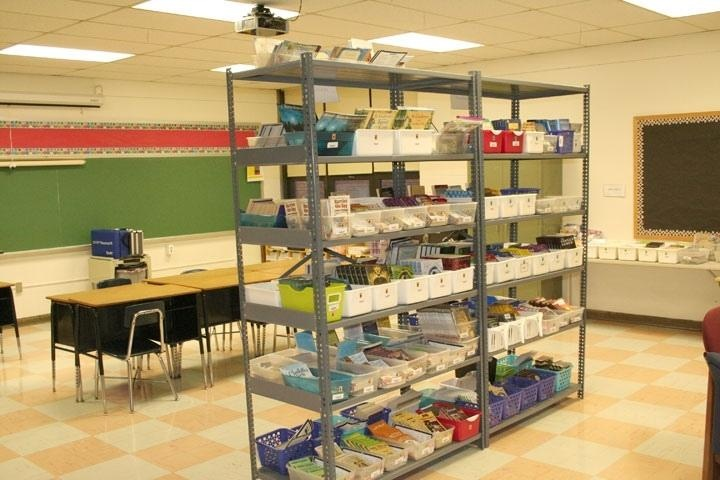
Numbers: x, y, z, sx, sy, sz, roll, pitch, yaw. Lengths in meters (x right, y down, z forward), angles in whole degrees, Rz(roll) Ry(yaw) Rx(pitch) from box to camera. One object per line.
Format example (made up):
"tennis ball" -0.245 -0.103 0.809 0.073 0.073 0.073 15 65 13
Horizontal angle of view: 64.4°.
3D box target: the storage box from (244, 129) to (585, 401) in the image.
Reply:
"storage box" 0.577 0.437 5.215 3.323 2.949 0.902 -12 17 -33

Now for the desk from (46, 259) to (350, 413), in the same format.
"desk" -1.831 1.135 6.294 0.875 0.607 2.314 4 8 36

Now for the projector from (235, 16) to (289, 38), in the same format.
"projector" -1.034 -2.306 6.288 0.379 0.070 0.348 5 7 42
